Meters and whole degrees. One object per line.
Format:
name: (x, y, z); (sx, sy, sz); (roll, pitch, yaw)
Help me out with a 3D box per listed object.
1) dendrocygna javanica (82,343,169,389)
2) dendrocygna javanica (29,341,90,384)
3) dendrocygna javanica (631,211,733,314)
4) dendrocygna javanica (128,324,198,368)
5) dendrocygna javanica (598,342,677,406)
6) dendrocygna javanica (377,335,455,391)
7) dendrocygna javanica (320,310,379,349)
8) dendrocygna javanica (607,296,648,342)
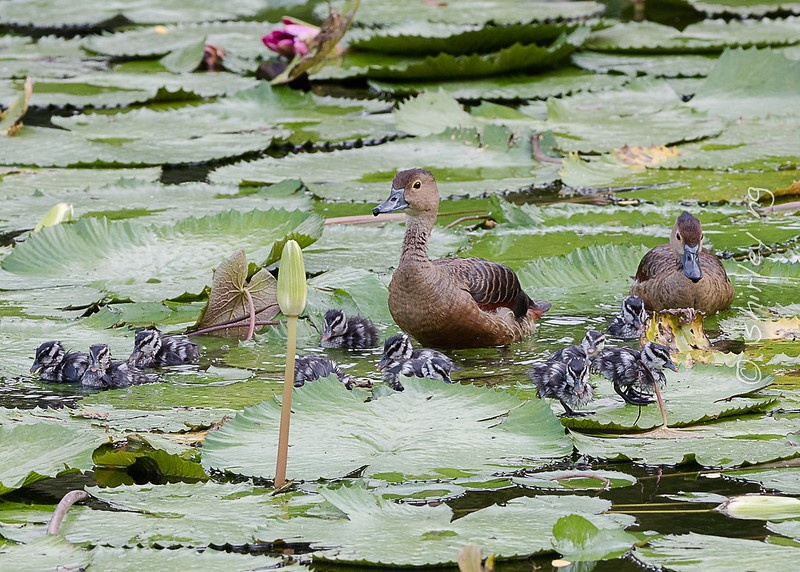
dendrocygna javanica: (-1.547, 0.451, 4.821); (0.283, 0.244, 0.472); (26, 11, 33)
dendrocygna javanica: (-1.833, 0.410, 4.814); (0.332, 0.184, 0.213); (-10, 7, -21)
dendrocygna javanica: (1.829, -0.147, 5.684); (0.541, 0.609, 0.601); (-16, 26, -16)
dendrocygna javanica: (-1.327, 0.361, 4.983); (0.337, 0.169, 0.218); (-2, -2, -36)
dendrocygna javanica: (1.100, 0.429, 4.226); (0.397, 0.263, 0.374); (1, 25, 18)
dendrocygna javanica: (0.139, 0.416, 4.871); (0.472, 0.270, 0.281); (12, 17, -2)
dendrocygna javanica: (-0.317, 0.276, 5.457); (0.339, 0.177, 0.233); (3, -5, -35)
dendrocygna javanica: (1.375, 0.184, 5.393); (0.187, 0.251, 0.310); (-24, 29, -29)
